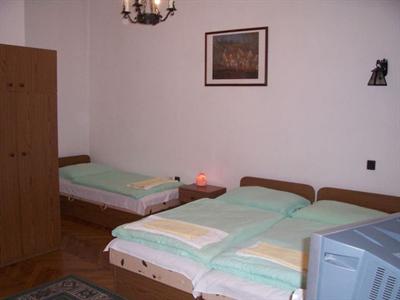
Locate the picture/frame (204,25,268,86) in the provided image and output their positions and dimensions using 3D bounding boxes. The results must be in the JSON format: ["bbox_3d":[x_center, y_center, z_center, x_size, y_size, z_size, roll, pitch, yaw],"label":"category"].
[{"bbox_3d":[0.526,-1.306,4.224,0.865,0.704,0.033,4,9,28],"label":"picture/frame"}]

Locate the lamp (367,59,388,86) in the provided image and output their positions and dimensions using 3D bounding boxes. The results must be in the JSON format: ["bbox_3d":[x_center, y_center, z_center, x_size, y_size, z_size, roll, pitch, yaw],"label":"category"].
[{"bbox_3d":[1.939,-0.853,3.351,0.177,0.298,0.247,10,12,29],"label":"lamp"}]

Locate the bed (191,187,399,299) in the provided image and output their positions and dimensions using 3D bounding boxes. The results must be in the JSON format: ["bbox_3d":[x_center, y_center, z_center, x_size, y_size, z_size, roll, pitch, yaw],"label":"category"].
[{"bbox_3d":[0.866,0.800,2.745,1.152,0.560,1.401,5,9,42],"label":"bed"}]

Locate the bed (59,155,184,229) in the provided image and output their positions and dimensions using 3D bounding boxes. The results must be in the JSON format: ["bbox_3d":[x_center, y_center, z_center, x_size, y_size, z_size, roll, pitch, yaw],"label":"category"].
[{"bbox_3d":[-1.362,0.577,4.734,1.892,0.883,0.976,11,13,39],"label":"bed"}]
